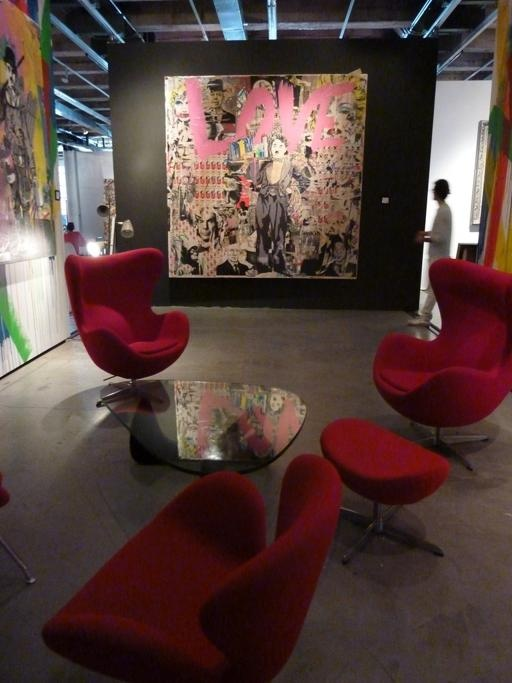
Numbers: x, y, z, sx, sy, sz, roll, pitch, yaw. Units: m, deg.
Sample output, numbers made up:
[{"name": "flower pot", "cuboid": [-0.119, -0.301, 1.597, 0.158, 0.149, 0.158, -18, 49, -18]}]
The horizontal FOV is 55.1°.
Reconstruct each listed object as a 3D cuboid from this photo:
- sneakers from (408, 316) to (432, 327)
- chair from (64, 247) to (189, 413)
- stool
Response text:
[{"name": "sneakers", "cuboid": [2.072, -0.239, 6.275, 0.324, 0.141, 0.123, 6, 17, 4]}, {"name": "chair", "cuboid": [-0.992, -0.124, 3.897, 0.947, 1.097, 0.897, -9, 20, -36]}, {"name": "stool", "cuboid": [0.527, 0.622, 2.125, 0.499, 0.459, 0.550, -10, 17, -28]}]
